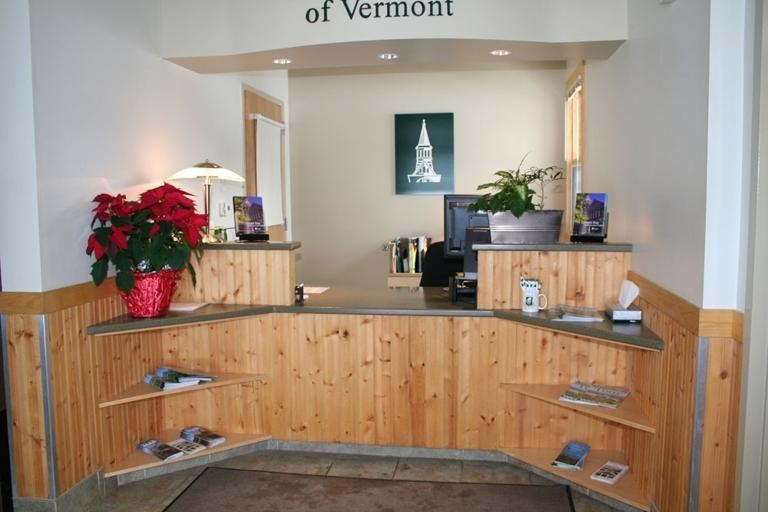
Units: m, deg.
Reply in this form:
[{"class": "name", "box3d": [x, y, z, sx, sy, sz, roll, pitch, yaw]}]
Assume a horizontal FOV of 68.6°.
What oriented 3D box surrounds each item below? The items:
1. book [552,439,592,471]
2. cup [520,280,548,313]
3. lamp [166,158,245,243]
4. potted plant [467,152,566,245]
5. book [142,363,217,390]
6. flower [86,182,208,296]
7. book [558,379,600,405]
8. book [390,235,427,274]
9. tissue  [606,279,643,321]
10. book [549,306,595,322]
[{"class": "book", "box3d": [1.310, 1.385, 3.941, 0.188, 0.080, 0.320, 2, 8, 31]}, {"class": "cup", "box3d": [1.071, 0.271, 4.007, 0.189, 0.237, 0.189, -2, 7, 0]}, {"class": "lamp", "box3d": [-1.450, -0.474, 4.883, 0.679, 0.718, 0.682, 1, -1, 0]}, {"class": "potted plant", "box3d": [0.968, -0.358, 4.149, 0.662, 0.536, 0.311, -1, 7, 9]}, {"class": "book", "box3d": [-1.509, 0.880, 4.142, 0.393, 0.089, 0.484, -8, 9, -41]}, {"class": "flower", "box3d": [-1.659, -0.182, 3.876, 0.760, 0.587, 0.706, 11, 12, 37]}, {"class": "book", "box3d": [1.326, 0.941, 3.844, 0.243, 0.037, 0.300, 0, 7, 16]}, {"class": "book", "box3d": [0.307, -0.003, 6.925, 0.439, 0.539, 0.410, 2, 2, 37]}, {"class": "tissue ", "box3d": [1.610, 0.296, 3.773, 0.206, 0.246, 0.301, 0, 7, 17]}, {"class": "book", "box3d": [1.296, 0.395, 3.794, 0.322, 0.046, 0.335, 0, 7, 21]}]
